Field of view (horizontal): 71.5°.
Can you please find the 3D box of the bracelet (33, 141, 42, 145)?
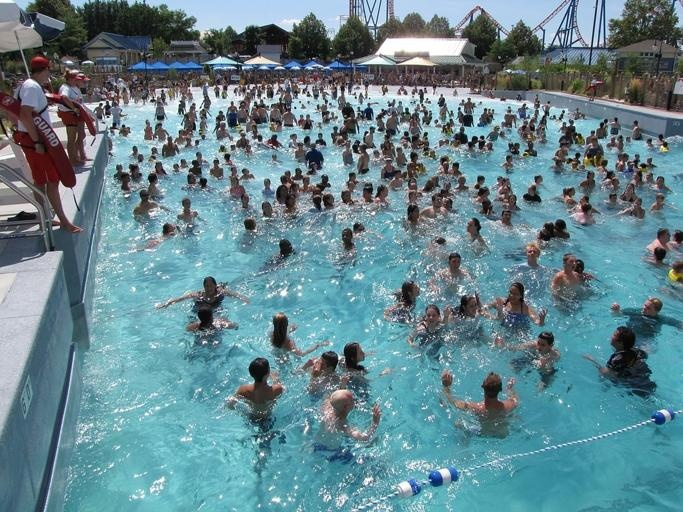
[{"bbox_3d":[-4.278,-1.587,6.643,0.128,0.038,0.047,9,25,17],"label":"bracelet"}]
